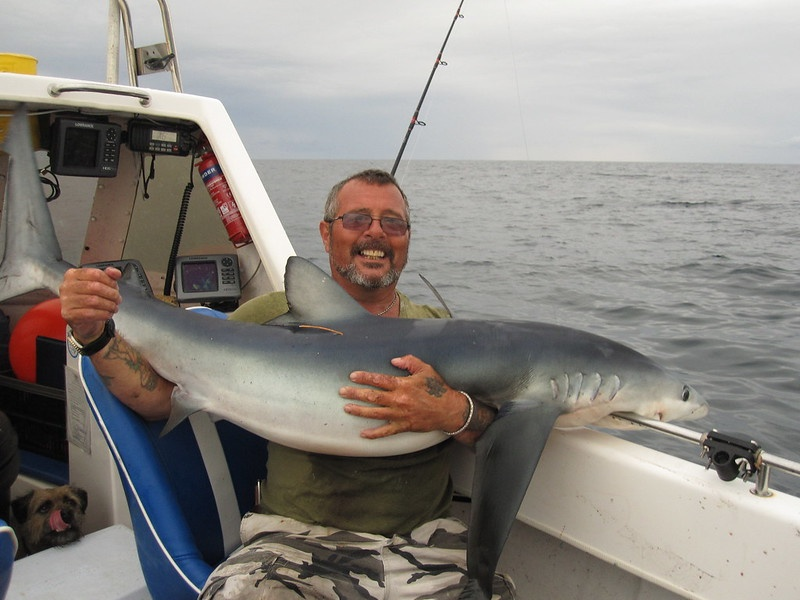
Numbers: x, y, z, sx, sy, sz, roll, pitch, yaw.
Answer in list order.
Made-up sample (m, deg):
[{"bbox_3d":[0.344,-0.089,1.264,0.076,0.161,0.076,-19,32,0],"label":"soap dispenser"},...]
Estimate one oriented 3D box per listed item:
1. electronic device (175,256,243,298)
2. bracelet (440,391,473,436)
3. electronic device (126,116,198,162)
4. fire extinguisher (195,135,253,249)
[{"bbox_3d":[-1.210,-0.145,3.915,0.399,0.277,0.100,-1,-23,-6],"label":"electronic device"},{"bbox_3d":[0.209,0.403,2.199,0.100,0.167,0.058,-3,15,-9],"label":"bracelet"},{"bbox_3d":[-1.454,-0.961,3.700,0.121,0.184,0.404,21,17,32],"label":"electronic device"},{"bbox_3d":[-1.037,-0.674,3.830,0.280,0.654,0.209,-20,8,13],"label":"fire extinguisher"}]
